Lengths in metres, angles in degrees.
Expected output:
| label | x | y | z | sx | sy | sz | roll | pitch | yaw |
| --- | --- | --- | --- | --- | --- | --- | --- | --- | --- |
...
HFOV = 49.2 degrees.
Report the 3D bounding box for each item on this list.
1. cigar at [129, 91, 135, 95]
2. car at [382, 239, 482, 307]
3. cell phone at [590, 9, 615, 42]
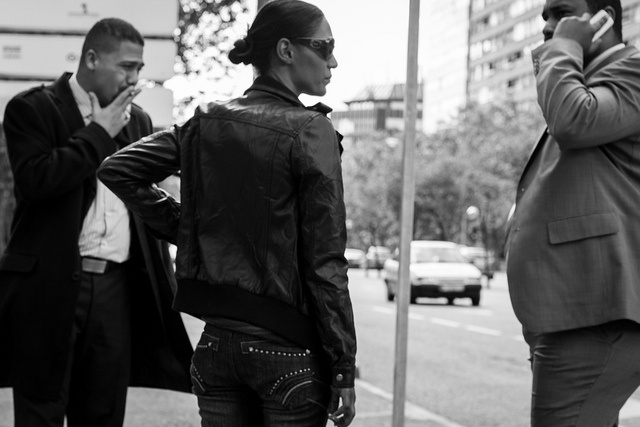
| label | x | y | z | sx | sy | sz | roll | pitch | yaw |
| --- | --- | --- | --- | --- | --- | --- | --- | --- | --- |
| cigar | -1.104 | -0.722 | 4.146 | 0.020 | 0.022 | 0.005 | 9 | 0 | 18 |
| car | 2.458 | 1.175 | 13.821 | 1.082 | 0.950 | 2.604 | 0 | -5 | -10 |
| cell phone | 1.435 | -0.981 | 3.601 | 0.099 | 0.178 | 0.051 | 37 | -3 | 2 |
